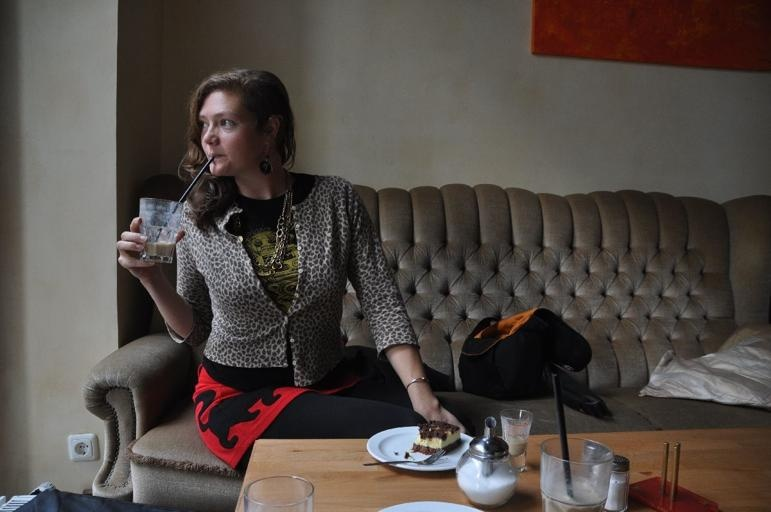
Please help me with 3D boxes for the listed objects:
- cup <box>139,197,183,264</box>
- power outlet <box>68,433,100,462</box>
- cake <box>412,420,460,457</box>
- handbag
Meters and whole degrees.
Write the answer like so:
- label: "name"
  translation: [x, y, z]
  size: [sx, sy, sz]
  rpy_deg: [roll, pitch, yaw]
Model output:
- label: "cup"
  translation: [-0.811, -0.089, 2.328]
  size: [0.161, 0.230, 0.122]
  rpy_deg: [3, 5, 41]
- label: "power outlet"
  translation: [-1.378, 0.868, 2.965]
  size: [0.132, 0.128, 0.066]
  rpy_deg: [-1, -3, -7]
- label: "cake"
  translation: [0.153, 0.578, 2.087]
  size: [0.120, 0.043, 0.090]
  rpy_deg: [-15, 17, -36]
- label: "handbag"
  translation: [0.547, 0.476, 2.673]
  size: [0.469, 0.469, 0.201]
  rpy_deg: [-12, 16, 9]
